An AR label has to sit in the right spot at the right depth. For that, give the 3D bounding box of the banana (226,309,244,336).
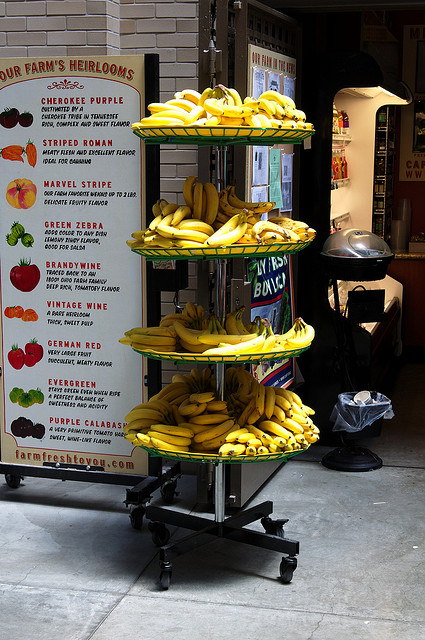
[{"bbox_3d":[0.073,0.019,2.382,0.033,0.104,0.072,-30,-44,31],"label":"banana"}]

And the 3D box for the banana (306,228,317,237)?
[{"bbox_3d":[0.384,-0.328,2.489,0.039,0.015,0.046,4,34,11],"label":"banana"}]

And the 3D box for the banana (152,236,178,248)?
[{"bbox_3d":[-0.160,-0.255,2.143,0.034,0.027,0.102,-3,9,-37],"label":"banana"}]

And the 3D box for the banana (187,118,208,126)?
[{"bbox_3d":[-0.043,-0.649,2.118,0.026,0.026,0.106,24,16,1],"label":"banana"}]

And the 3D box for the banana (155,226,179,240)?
[{"bbox_3d":[-0.150,-0.287,2.121,0.073,0.047,0.076,0,2,-3],"label":"banana"}]

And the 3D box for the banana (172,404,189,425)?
[{"bbox_3d":[-0.132,0.371,2.516,0.027,0.097,0.029,-25,14,44],"label":"banana"}]

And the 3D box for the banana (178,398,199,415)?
[{"bbox_3d":[-0.100,0.334,2.477,0.054,0.019,0.054,-20,13,29],"label":"banana"}]

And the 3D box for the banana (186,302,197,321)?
[{"bbox_3d":[-0.083,-0.033,2.564,0.032,0.026,0.094,-14,39,0],"label":"banana"}]

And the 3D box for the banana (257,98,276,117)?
[{"bbox_3d":[0.192,-0.740,2.246,0.036,0.025,0.119,17,27,-34],"label":"banana"}]

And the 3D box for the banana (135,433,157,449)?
[{"bbox_3d":[-0.245,0.442,2.377,0.068,0.036,0.022,22,47,33],"label":"banana"}]

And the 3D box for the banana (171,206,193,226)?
[{"bbox_3d":[-0.106,-0.370,2.258,0.043,0.030,0.149,13,25,1],"label":"banana"}]

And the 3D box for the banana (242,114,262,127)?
[{"bbox_3d":[0.132,-0.657,2.128,0.052,0.047,0.055,-1,2,-20],"label":"banana"}]

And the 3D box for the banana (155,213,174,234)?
[{"bbox_3d":[-0.151,-0.339,2.248,0.034,0.029,0.105,39,49,9],"label":"banana"}]

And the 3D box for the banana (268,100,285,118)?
[{"bbox_3d":[0.229,-0.734,2.292,0.035,0.090,0.026,13,-42,-33],"label":"banana"}]

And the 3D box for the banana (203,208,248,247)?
[{"bbox_3d":[0.042,-0.311,2.204,0.047,0.074,0.214,32,49,17],"label":"banana"}]

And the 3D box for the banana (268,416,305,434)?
[{"bbox_3d":[0.273,0.395,2.422,0.116,0.030,0.033,21,39,-5],"label":"banana"}]

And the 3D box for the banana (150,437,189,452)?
[{"bbox_3d":[-0.160,0.453,2.348,0.095,0.028,0.024,17,13,-8],"label":"banana"}]

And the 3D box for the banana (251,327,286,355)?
[{"bbox_3d":[0.207,0.082,2.314,0.058,0.103,0.173,1,21,19],"label":"banana"}]

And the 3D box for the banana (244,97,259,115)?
[{"bbox_3d":[0.135,-0.748,2.252,0.052,0.039,0.141,-10,36,13],"label":"banana"}]

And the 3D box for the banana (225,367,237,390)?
[{"bbox_3d":[0.073,0.241,2.737,0.062,0.074,0.018,-1,2,-13],"label":"banana"}]

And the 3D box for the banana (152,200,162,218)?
[{"bbox_3d":[-0.210,-0.426,2.490,0.044,0.066,0.020,0,-7,-33],"label":"banana"}]

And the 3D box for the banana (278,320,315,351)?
[{"bbox_3d":[0.323,0.063,2.430,0.092,0.059,0.141,-4,17,13],"label":"banana"}]

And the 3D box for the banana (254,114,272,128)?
[{"bbox_3d":[0.174,-0.660,2.148,0.036,0.025,0.098,-32,14,13],"label":"banana"}]

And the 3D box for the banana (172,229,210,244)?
[{"bbox_3d":[-0.067,-0.273,2.128,0.143,0.038,0.038,-2,-1,-40],"label":"banana"}]

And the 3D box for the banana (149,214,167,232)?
[{"bbox_3d":[-0.198,-0.341,2.292,0.033,0.026,0.100,36,34,-6],"label":"banana"}]

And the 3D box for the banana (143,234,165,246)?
[{"bbox_3d":[-0.213,-0.268,2.175,0.032,0.019,0.060,0,-11,12],"label":"banana"}]

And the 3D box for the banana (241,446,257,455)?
[{"bbox_3d":[0.129,0.452,2.235,0.025,0.020,0.035,-44,-34,26],"label":"banana"}]

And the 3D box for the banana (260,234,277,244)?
[{"bbox_3d":[0.187,-0.268,2.137,0.039,0.028,0.014,-24,-6,-43],"label":"banana"}]

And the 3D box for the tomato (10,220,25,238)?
[{"bbox_3d":[-0.929,-0.438,3.125,0.059,0.073,0.059,-10,14,12],"label":"tomato"}]

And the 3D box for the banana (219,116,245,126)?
[{"bbox_3d":[0.062,-0.657,2.137,0.109,0.027,0.034,2,5,8],"label":"banana"}]

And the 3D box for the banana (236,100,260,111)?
[{"bbox_3d":[0.124,-0.721,2.194,0.036,0.024,0.106,-20,6,26],"label":"banana"}]

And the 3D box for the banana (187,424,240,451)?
[{"bbox_3d":[0.008,0.432,2.353,0.127,0.026,0.042,-27,28,12],"label":"banana"}]

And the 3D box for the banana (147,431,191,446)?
[{"bbox_3d":[-0.150,0.426,2.394,0.190,0.048,0.049,7,4,8],"label":"banana"}]

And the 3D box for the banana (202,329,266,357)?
[{"bbox_3d":[0.087,0.090,2.181,0.219,0.066,0.100,-1,2,-32],"label":"banana"}]

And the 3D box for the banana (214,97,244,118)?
[{"bbox_3d":[0.057,-0.700,2.106,0.142,0.039,0.051,25,47,36],"label":"banana"}]

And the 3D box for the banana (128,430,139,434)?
[{"bbox_3d":[-0.316,0.443,2.551,0.054,0.010,0.013,-7,25,33],"label":"banana"}]

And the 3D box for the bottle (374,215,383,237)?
[{"bbox_3d":[1.799,-1.024,6.979,0.086,0.232,0.139,0,2,13],"label":"bottle"}]
